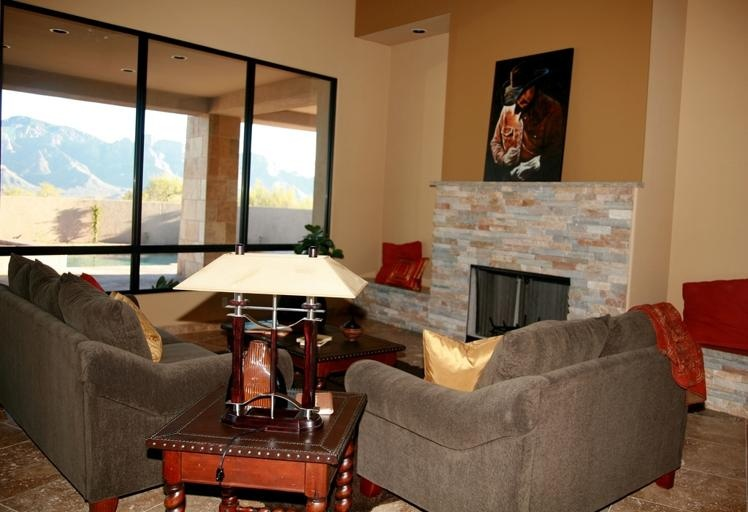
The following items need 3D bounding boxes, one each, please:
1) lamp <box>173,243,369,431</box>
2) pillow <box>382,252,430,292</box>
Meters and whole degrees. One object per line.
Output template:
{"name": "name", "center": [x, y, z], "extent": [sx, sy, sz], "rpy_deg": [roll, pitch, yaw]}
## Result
{"name": "lamp", "center": [-0.733, 0.541, 3.673], "extent": [1.329, 1.256, 0.801], "rpy_deg": [2, 1, 20]}
{"name": "pillow", "center": [0.447, 0.177, 7.354], "extent": [0.651, 0.216, 0.650], "rpy_deg": [-3, 10, -1]}
